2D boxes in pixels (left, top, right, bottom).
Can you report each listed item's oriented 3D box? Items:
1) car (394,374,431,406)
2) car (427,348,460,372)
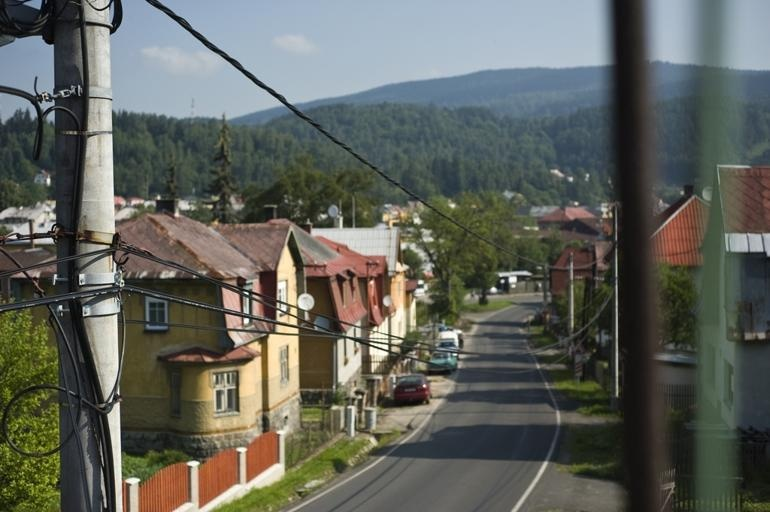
[{"bbox_3d":[1.143,5.879,67.092,1.566,1.233,1.122,-5,-1,-5],"label":"car"},{"bbox_3d":[2.757,5.008,74.173,1.164,0.956,2.686,1,3,4],"label":"car"}]
